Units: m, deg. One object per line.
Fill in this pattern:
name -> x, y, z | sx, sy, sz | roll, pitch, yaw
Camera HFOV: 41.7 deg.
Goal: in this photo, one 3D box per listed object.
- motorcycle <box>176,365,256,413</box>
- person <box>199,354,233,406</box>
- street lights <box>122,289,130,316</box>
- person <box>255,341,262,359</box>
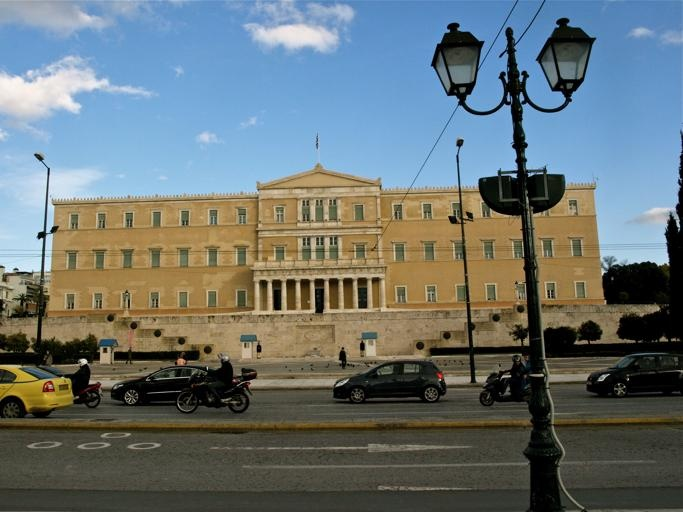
motorcycle -> -4.529, 4.951, 32.935 | 2.931, 1.535, 1.456 | 1, -17, 2
person -> -4.406, 4.436, 32.383 | 1.039, 1.777, 0.915 | -1, -9, -5
street lights -> -19.370, 4.102, 81.161 | 0.764, 2.138, 0.666 | 0, -9, -12
person -> -6.334, 7.202, 69.283 | 0.430, 1.319, 0.670 | -1, -9, -5
